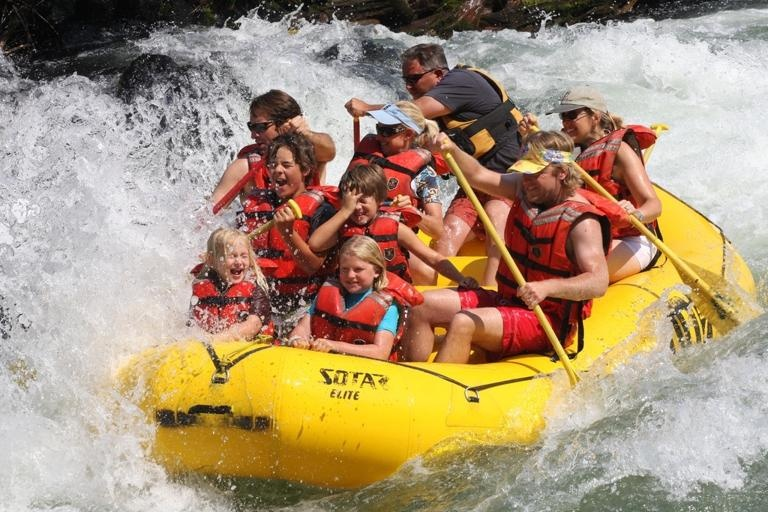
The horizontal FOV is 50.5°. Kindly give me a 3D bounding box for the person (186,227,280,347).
[{"bbox_3d":[-1.217,0.277,6.460,0.656,0.303,0.877,-2,81,-18],"label":"person"}]

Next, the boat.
[{"bbox_3d":[0.477,0.399,6.207,3.671,0.744,1.997,-11,20,-27],"label":"boat"}]

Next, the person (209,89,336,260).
[{"bbox_3d":[-1.066,-0.806,7.621,1.089,1.532,0.901,11,30,24],"label":"person"}]

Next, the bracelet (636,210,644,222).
[{"bbox_3d":[2.180,-0.336,6.937,0.086,0.027,0.085,11,43,-19],"label":"bracelet"}]

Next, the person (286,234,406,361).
[{"bbox_3d":[-0.208,0.413,6.365,0.769,0.373,1.023,19,78,7],"label":"person"}]

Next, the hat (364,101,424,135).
[{"bbox_3d":[0.097,-1.204,7.188,0.370,0.119,0.248,22,3,-21],"label":"hat"}]

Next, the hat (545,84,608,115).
[{"bbox_3d":[1.848,-1.434,7.527,0.439,0.186,0.282,-8,8,-26],"label":"hat"}]

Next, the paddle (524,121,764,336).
[{"bbox_3d":[2.333,-0.179,7.265,2.852,0.502,0.222,46,31,3],"label":"paddle"}]
